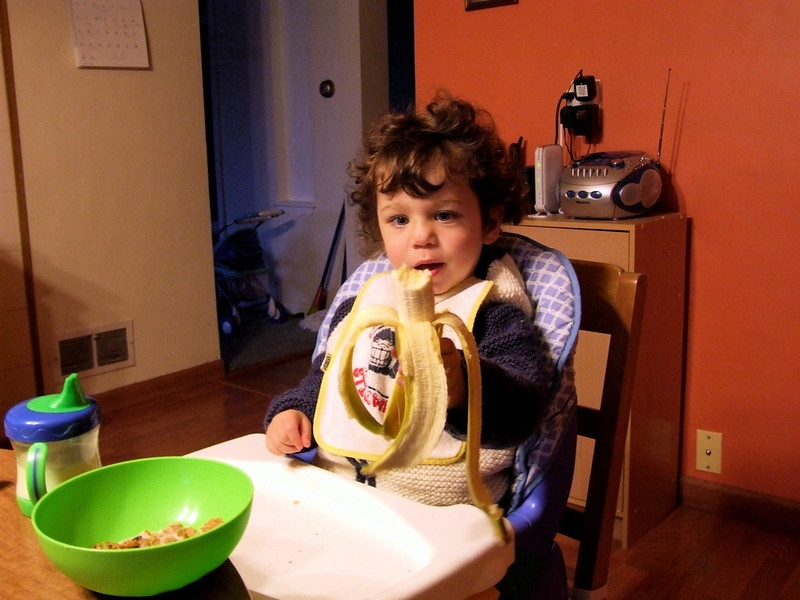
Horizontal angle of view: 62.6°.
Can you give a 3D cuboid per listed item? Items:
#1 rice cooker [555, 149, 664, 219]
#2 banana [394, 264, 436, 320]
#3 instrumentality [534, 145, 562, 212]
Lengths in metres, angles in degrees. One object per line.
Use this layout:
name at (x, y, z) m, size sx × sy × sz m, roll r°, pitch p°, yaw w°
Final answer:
rice cooker at (0.704, -0.388, 2.240) m, size 0.303 × 0.214 × 0.308 m, roll -12°, pitch 15°, yaw -43°
banana at (0.011, -0.007, 0.781) m, size 0.046 × 0.056 × 0.060 m, roll -6°, pitch 15°, yaw -26°
instrumentality at (0.525, -0.428, 2.322) m, size 0.063 × 0.278 × 0.180 m, roll 4°, pitch 11°, yaw 31°
